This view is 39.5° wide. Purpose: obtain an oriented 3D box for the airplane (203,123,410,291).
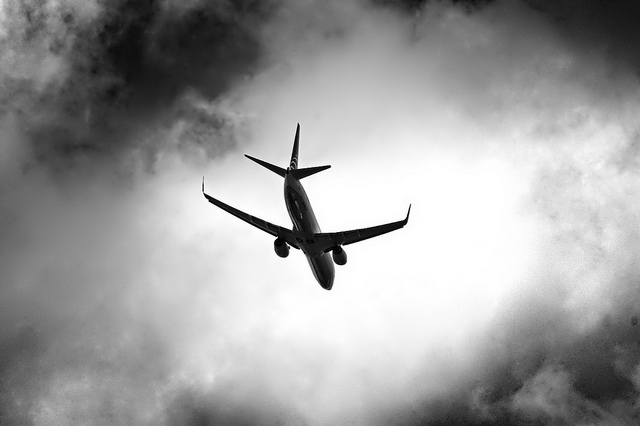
[{"bbox_3d":[-1.374,0.303,116.295,29.307,9.723,29.769,8,33,-17],"label":"airplane"}]
